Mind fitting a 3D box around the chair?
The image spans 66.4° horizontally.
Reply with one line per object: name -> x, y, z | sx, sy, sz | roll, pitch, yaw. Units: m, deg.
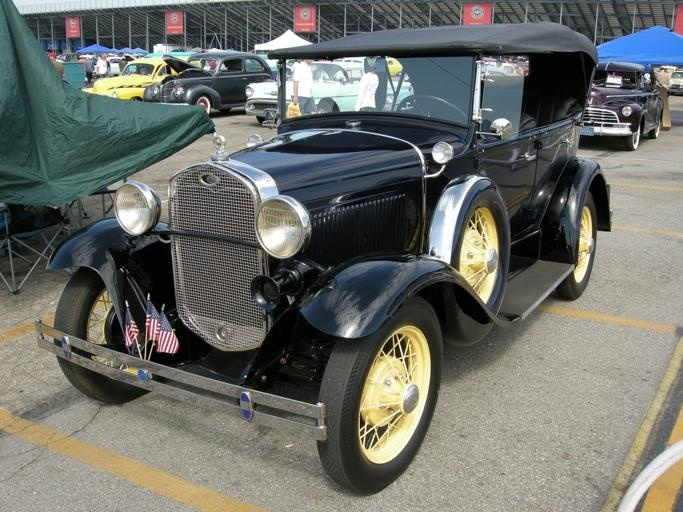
chair -> 1.616, -1.214, 4.508 | 0.755, 0.299, 0.227 | -20, 19, -38
